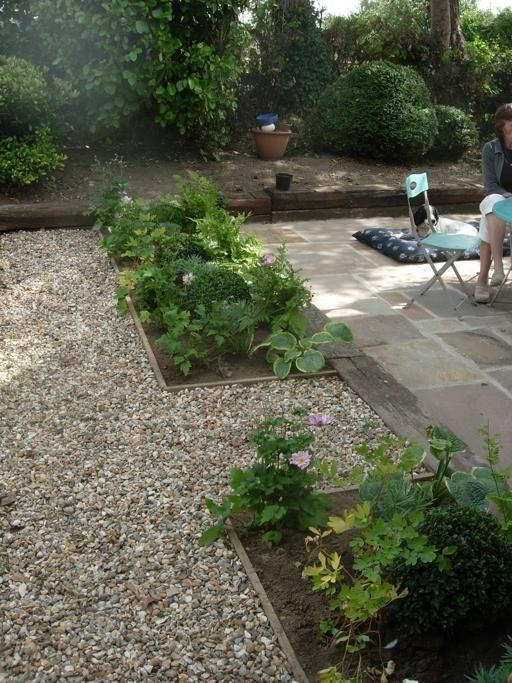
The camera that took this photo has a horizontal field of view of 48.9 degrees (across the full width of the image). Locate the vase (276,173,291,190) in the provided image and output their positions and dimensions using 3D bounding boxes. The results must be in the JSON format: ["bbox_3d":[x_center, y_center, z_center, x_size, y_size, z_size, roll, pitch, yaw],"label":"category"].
[{"bbox_3d":[0.315,-1.858,6.504,0.207,0.139,0.200,2,21,1],"label":"vase"}]

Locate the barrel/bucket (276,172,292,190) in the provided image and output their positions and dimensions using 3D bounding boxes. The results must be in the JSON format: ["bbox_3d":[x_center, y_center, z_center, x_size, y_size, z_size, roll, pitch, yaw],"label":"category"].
[{"bbox_3d":[0.316,-1.872,6.518,0.251,0.164,0.237,1,19,0],"label":"barrel/bucket"}]

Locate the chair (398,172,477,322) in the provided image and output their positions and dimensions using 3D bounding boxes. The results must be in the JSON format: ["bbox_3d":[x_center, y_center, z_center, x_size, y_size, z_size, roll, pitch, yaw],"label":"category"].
[{"bbox_3d":[1.369,-0.718,4.181,0.547,0.875,0.468,6,25,28],"label":"chair"}]

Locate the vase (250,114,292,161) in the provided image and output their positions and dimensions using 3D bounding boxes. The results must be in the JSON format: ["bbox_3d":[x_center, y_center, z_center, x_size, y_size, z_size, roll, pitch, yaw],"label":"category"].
[{"bbox_3d":[0.192,-2.990,8.188,0.721,0.671,0.661,-1,31,-2],"label":"vase"}]

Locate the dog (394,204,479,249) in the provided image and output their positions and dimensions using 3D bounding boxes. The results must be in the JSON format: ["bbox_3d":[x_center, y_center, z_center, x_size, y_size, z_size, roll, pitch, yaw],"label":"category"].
[{"bbox_3d":[1.674,-1.047,5.069,0.613,0.280,0.786,-15,20,-37],"label":"dog"}]

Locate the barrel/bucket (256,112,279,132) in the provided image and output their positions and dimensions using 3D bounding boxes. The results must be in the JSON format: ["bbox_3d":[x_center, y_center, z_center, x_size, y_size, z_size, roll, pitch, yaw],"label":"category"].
[{"bbox_3d":[0.155,-3.093,7.946,0.259,0.258,0.317,-3,15,7],"label":"barrel/bucket"}]
